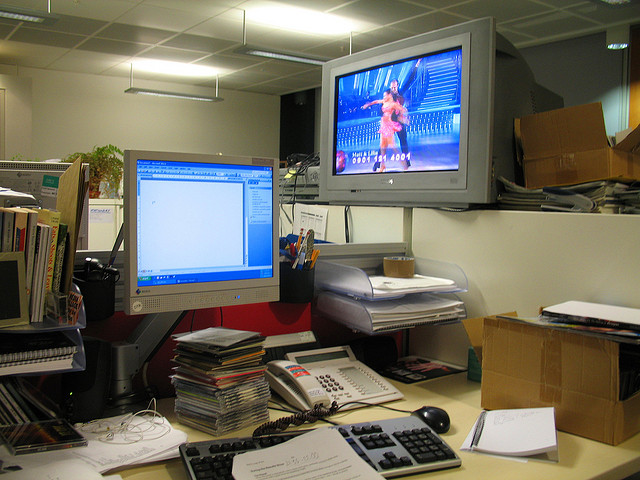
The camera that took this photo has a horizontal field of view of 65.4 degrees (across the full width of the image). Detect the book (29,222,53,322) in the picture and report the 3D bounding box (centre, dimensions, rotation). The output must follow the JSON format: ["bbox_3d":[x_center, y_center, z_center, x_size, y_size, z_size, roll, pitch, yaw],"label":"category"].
[{"bbox_3d":[-0.665,0.079,1.184,0.034,0.266,0.227,4,-1,-29],"label":"book"}]

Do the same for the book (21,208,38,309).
[{"bbox_3d":[-0.683,0.050,1.171,0.031,0.269,0.225,1,-1,-35],"label":"book"}]

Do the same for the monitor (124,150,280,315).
[{"bbox_3d":[-0.341,-0.024,1.397,0.480,0.460,0.050,-1,4,-31],"label":"monitor"}]

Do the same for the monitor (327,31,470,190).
[{"bbox_3d":[0.361,-0.441,1.974,0.657,0.551,0.349,2,1,35],"label":"monitor"}]

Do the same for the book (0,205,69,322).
[{"bbox_3d":[-0.681,0.058,1.197,0.123,0.258,0.088,4,11,1],"label":"book"}]

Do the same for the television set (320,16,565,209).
[{"bbox_3d":[0.443,-0.379,2.066,0.721,0.471,0.743,5,2,18],"label":"television set"}]

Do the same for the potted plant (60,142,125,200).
[{"bbox_3d":[-1.611,-0.468,3.670,0.270,0.407,0.658,-2,12,-25],"label":"potted plant"}]

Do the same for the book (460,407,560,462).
[{"bbox_3d":[0.491,0.479,1.254,0.212,0.081,0.208,10,13,29],"label":"book"}]

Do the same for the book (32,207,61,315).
[{"bbox_3d":[-0.653,0.055,1.189,0.035,0.276,0.234,5,0,-30],"label":"book"}]

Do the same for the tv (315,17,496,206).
[{"bbox_3d":[0.396,-0.430,1.984,0.742,0.607,0.387,5,4,40],"label":"tv"}]

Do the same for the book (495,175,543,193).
[{"bbox_3d":[0.668,-0.187,1.679,0.152,0.051,0.057,7,12,19],"label":"book"}]

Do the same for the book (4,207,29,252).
[{"bbox_3d":[-0.708,-0.021,1.163,0.030,0.084,0.089,-1,8,-37],"label":"book"}]
